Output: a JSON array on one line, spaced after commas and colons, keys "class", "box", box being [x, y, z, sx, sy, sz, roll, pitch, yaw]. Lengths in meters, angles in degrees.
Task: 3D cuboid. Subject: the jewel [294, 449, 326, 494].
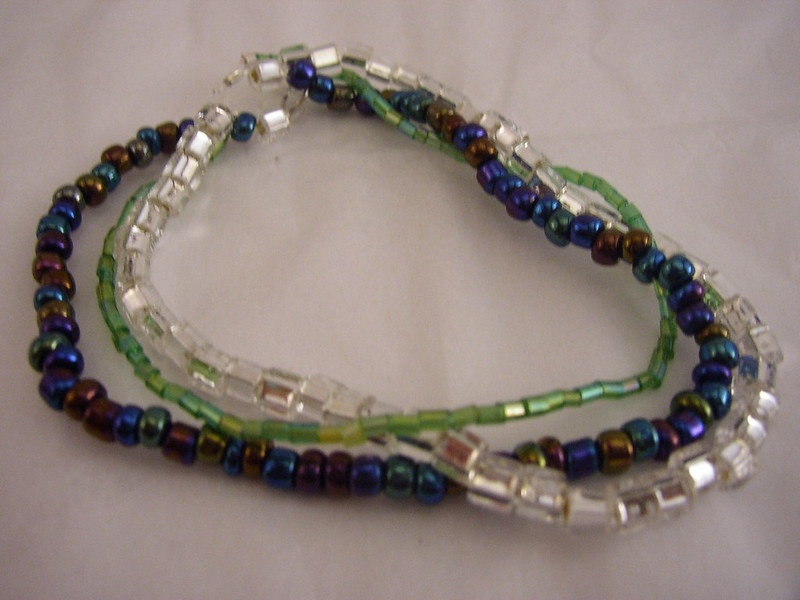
[{"class": "jewel", "box": [-0.164, 0.325, 1.681, 0.060, 0.075, 0.075, 1, -87, 19]}]

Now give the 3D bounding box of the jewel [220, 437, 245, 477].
[{"class": "jewel", "box": [-0.307, 0.293, 1.661, 0.043, 0.060, 0.099, 0, -83, -2]}]

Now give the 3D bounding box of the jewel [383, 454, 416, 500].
[{"class": "jewel", "box": [0.001, 0.325, 1.649, 0.054, 0.032, 0.069, 4, -75, 1]}]

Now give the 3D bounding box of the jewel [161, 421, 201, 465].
[{"class": "jewel", "box": [-0.415, 0.261, 1.703, 0.055, 0.072, 0.070, 15, -86, -23]}]

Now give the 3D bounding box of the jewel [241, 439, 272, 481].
[{"class": "jewel", "box": [-0.269, 0.288, 1.717, 0.043, 0.089, 0.101, 5, -89, 0]}]

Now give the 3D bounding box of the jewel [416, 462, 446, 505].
[{"class": "jewel", "box": [0.055, 0.341, 1.656, 0.063, 0.099, 0.039, 9, -75, 0]}]

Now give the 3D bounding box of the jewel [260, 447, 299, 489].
[{"class": "jewel", "box": [-0.219, 0.310, 1.650, 0.061, 0.064, 0.062, 1, -56, 17]}]

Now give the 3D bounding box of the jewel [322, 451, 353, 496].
[{"class": "jewel", "box": [-0.118, 0.314, 1.683, 0.037, 0.076, 0.082, 4, -75, -2]}]

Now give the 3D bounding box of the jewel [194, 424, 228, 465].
[{"class": "jewel", "box": [-0.351, 0.279, 1.692, 0.050, 0.067, 0.073, 3, -101, 43]}]

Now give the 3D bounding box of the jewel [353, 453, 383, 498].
[{"class": "jewel", "box": [-0.060, 0.324, 1.650, 0.057, 0.031, 0.064, 1, -75, 2]}]
